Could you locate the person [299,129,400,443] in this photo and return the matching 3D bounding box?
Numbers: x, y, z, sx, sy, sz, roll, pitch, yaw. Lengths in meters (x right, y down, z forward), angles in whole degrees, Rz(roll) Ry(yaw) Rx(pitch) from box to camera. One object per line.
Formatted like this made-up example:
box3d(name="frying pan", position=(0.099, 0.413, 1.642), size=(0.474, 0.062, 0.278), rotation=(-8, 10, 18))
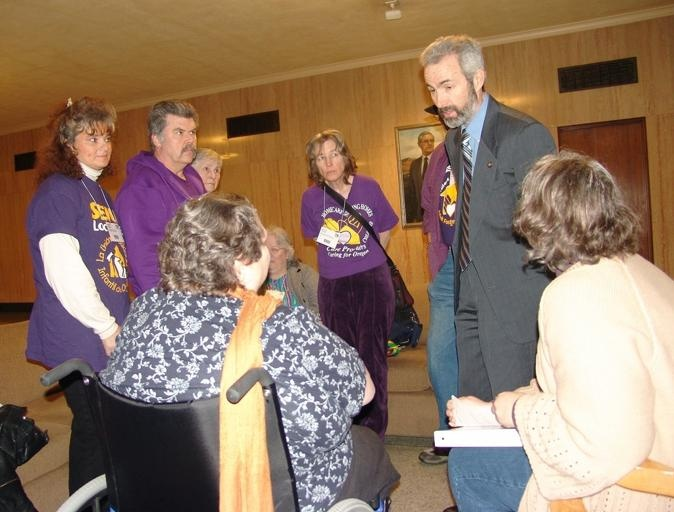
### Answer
box3d(name="person", position=(0.112, 0.217, 3.810), size=(0.540, 2.047, 0.538), rotation=(-8, 13, -14))
